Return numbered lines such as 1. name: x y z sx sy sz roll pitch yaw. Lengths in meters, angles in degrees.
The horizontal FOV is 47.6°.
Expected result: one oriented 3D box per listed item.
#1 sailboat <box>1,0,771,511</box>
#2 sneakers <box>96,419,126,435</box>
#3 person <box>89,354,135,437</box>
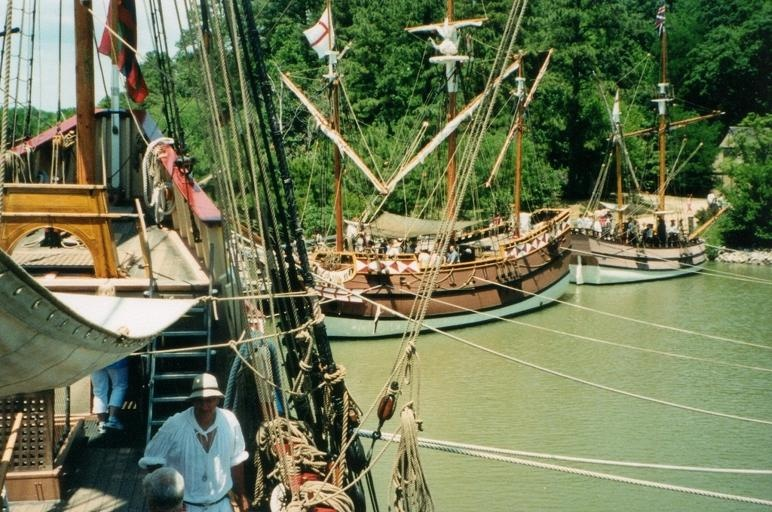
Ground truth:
1. sailboat: -1.600 0.097 15.152 11.059 7.919 6.030 -4 7 -42
2. sneakers: -4.431 2.718 14.015 0.172 0.211 0.468 -1 -12 12
3. person: -4.570 2.157 14.453 0.508 0.490 1.614 -9 53 -10
